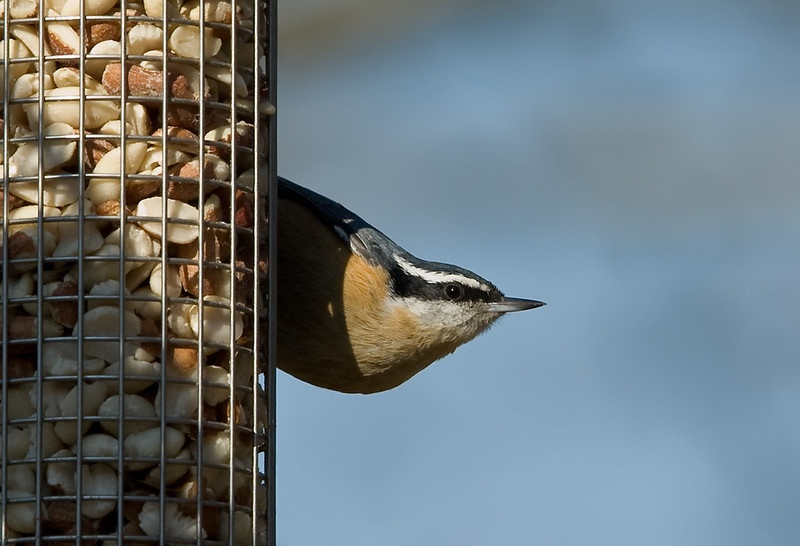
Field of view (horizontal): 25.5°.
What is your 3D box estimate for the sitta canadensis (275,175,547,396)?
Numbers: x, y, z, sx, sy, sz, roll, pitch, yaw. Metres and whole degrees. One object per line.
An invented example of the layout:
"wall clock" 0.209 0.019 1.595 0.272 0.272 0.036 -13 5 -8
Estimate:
"sitta canadensis" -0.110 0.074 6.165 0.286 0.631 1.015 -15 -20 39
